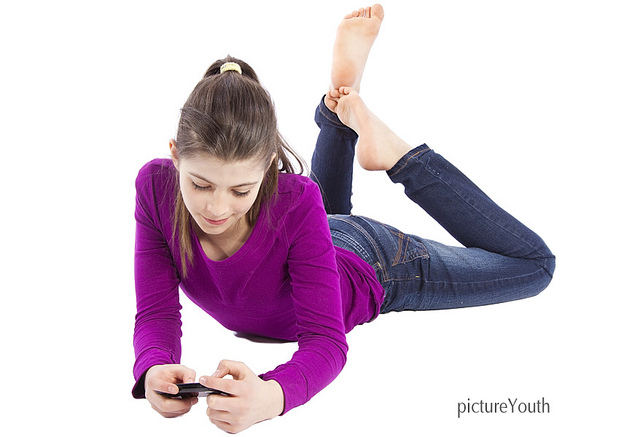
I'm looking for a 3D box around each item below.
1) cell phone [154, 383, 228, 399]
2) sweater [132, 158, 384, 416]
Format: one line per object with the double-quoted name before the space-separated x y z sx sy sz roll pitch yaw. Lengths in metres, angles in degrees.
"cell phone" -0.529 0.705 2.440 0.288 0.059 0.157 -17 -23 36
"sweater" -0.385 0.320 2.823 0.984 1.162 0.543 -4 -19 3
